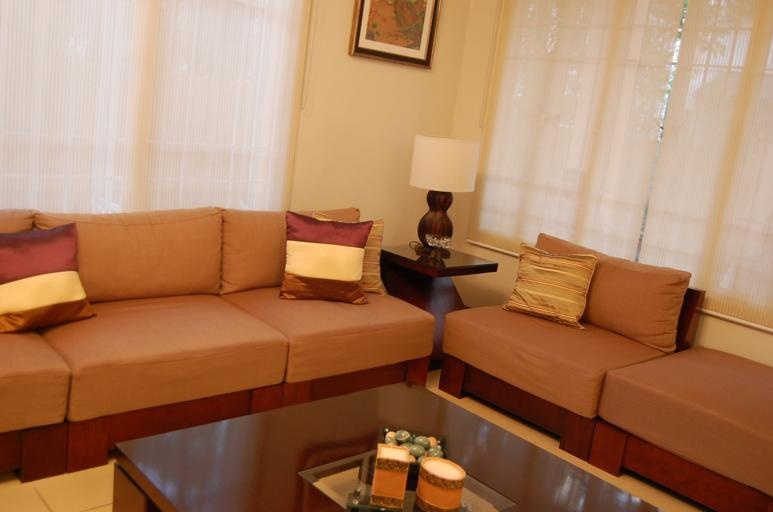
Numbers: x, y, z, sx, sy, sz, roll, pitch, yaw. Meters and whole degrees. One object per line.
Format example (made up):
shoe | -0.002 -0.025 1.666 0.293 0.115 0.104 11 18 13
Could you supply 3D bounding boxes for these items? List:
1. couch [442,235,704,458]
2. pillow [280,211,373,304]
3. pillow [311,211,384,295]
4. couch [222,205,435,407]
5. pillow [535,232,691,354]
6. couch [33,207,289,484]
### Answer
couch | 1.335 0.558 4.012 1.358 1.231 1.442 -4 9 -35
pillow | -0.428 0.029 3.910 0.601 0.596 0.218 7 -3 -10
pillow | -0.162 -0.011 4.413 0.589 0.586 0.217 -1 -2 6
couch | -0.500 0.336 4.178 1.360 1.254 1.237 -2 6 -34
pillow | 1.614 0.242 4.324 0.384 0.574 1.232 0 14 -41
couch | -1.366 0.506 3.729 1.472 1.387 1.372 -4 11 -31
